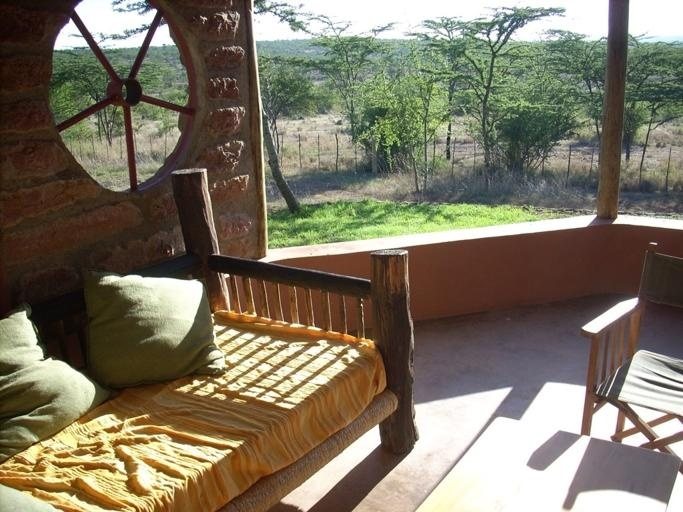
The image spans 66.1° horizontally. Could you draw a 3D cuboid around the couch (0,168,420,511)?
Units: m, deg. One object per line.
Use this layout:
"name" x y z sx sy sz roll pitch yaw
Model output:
"couch" -0.700 0.494 2.640 1.600 1.230 1.631 11 22 43
